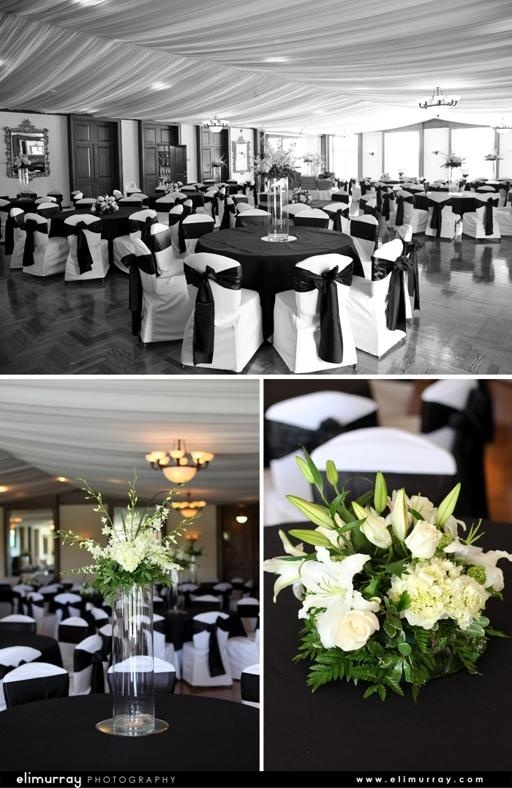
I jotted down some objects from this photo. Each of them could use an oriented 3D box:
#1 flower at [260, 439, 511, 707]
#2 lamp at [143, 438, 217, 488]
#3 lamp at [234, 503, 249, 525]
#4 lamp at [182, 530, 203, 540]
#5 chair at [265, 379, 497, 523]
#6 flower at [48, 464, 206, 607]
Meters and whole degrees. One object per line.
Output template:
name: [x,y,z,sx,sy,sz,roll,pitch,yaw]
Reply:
flower: [0.289,0.449,1.364,0.630,0.657,0.557,11,-44,2]
lamp: [-0.752,0.665,4.782,0.574,0.427,0.578,8,-19,-27]
lamp: [-0.338,2.802,11.559,0.421,0.636,0.429,2,-19,-5]
lamp: [-1.463,3.225,11.261,0.320,0.209,0.266,0,-6,-1]
chair: [0.470,0.328,2.024,0.576,0.661,0.719,2,-23,2]
flower: [-0.469,0.573,1.685,0.358,0.380,0.320,-3,-9,9]
